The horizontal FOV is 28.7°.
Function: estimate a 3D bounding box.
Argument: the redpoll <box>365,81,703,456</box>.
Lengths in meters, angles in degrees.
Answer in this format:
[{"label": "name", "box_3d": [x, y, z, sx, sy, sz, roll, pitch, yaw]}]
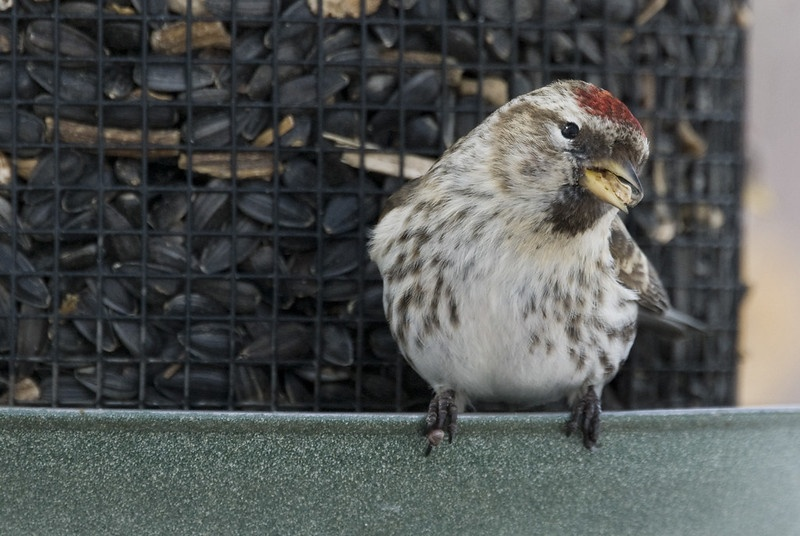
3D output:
[{"label": "redpoll", "box_3d": [0.319, 0.017, 3.186, 0.755, 0.604, 0.817, 3, -3, -9]}]
